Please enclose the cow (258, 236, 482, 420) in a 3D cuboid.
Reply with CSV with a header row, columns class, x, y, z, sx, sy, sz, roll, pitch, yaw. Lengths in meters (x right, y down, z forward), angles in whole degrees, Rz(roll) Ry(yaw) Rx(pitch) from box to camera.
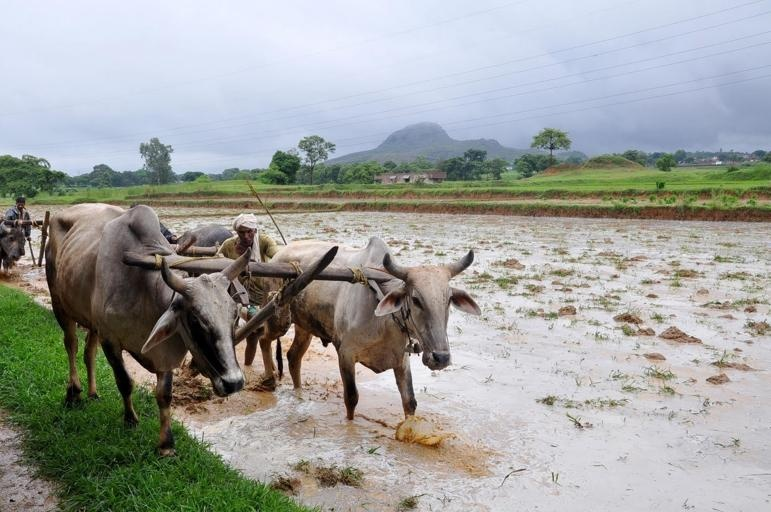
class,x,y,z,sx,sy,sz,roll,pitch,yaw
cow,-0.121,1.064,8.772,1.110,2.649,2.949,-13,10,-41
